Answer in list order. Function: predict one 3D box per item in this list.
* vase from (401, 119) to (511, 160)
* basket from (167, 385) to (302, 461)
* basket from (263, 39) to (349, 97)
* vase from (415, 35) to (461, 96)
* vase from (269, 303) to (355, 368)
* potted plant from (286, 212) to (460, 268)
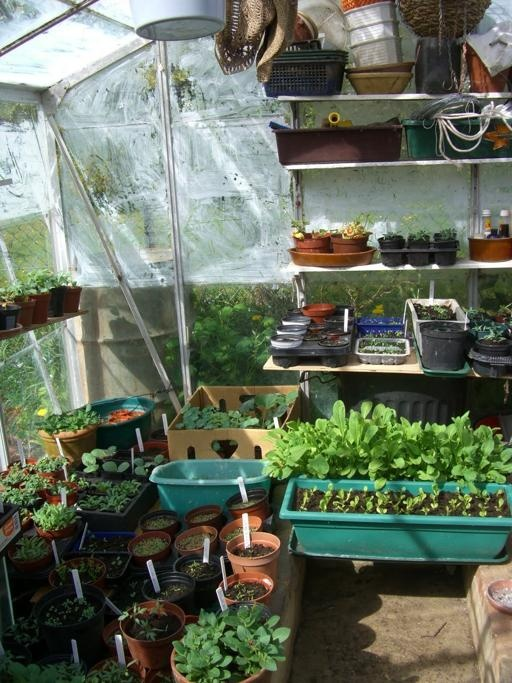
[{"bbox_3d":[1.032,-1.037,2.695,0.395,0.116,0.258,2,17,12],"label":"vase"},{"bbox_3d":[-0.145,0.474,2.990,0.560,0.164,0.496,0,19,6],"label":"basket"},{"bbox_3d":[0.252,-1.341,2.690,0.549,0.279,0.345,-1,21,6],"label":"basket"},{"bbox_3d":[0.987,-1.454,2.702,0.249,0.248,0.253,22,31,36],"label":"vase"},{"bbox_3d":[0.333,-0.060,2.870,0.303,0.115,0.489,0,18,11],"label":"vase"},{"bbox_3d":[0.659,-0.567,2.973,0.909,0.344,0.384,-3,8,15],"label":"potted plant"}]
